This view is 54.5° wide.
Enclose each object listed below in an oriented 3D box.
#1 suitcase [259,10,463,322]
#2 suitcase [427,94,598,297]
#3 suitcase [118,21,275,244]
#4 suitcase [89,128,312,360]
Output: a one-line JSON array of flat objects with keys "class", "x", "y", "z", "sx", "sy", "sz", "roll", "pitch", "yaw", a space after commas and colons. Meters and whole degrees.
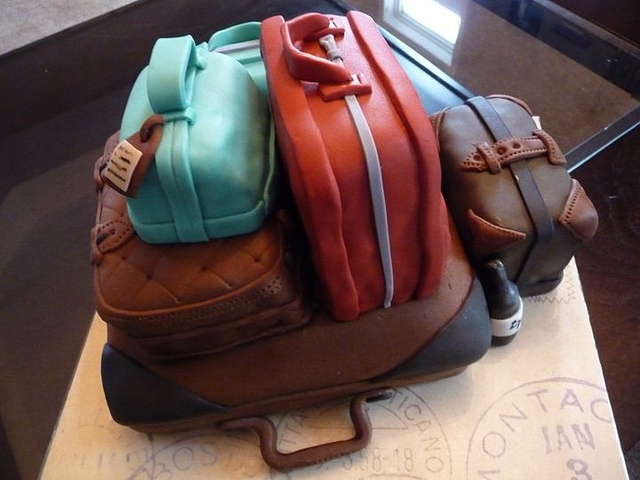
[{"class": "suitcase", "x": 0.060, "y": -0.252, "z": 1.580, "sx": 0.331, "sy": 0.606, "sz": 0.696, "roll": -17, "pitch": 44, "yaw": -5}, {"class": "suitcase", "x": 0.459, "y": -0.070, "z": 1.813, "sx": 0.366, "sy": 0.446, "sz": 0.599, "roll": -12, "pitch": 64, "yaw": -2}, {"class": "suitcase", "x": -0.298, "y": -0.331, "z": 1.517, "sx": 0.347, "sy": 0.353, "sz": 0.642, "roll": -3, "pitch": 42, "yaw": 4}, {"class": "suitcase", "x": -0.332, "y": -0.087, "z": 1.644, "sx": 0.531, "sy": 0.242, "sz": 0.753, "roll": -9, "pitch": 53, "yaw": -2}]
